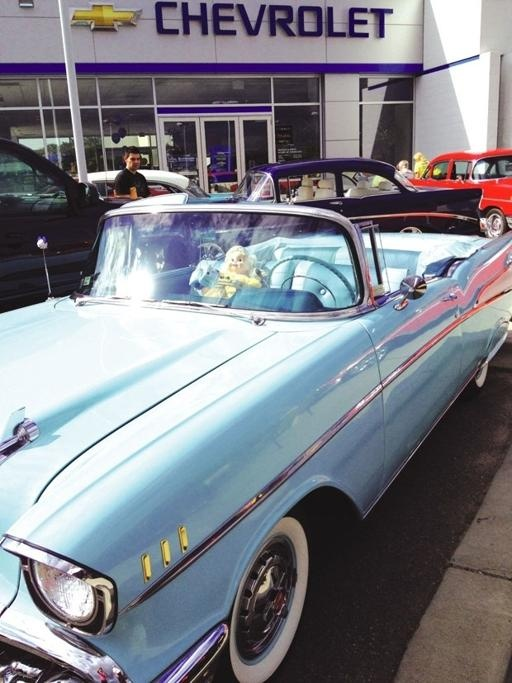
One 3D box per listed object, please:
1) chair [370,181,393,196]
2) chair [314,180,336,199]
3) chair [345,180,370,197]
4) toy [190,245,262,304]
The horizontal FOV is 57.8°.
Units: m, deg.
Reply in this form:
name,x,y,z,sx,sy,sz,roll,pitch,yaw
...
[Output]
name,x,y,z,sx,sy,sz,roll,pitch,yaw
chair,2.161,-2.632,7.879,0.224,0.179,0.312,2,-2,19
chair,1.113,-2.513,7.749,0.306,0.416,0.370,0,9,-6
chair,1.737,-2.540,7.826,0.320,0.334,0.348,7,12,35
toy,-0.223,-0.292,2.349,0.325,0.139,0.406,0,-8,-11
